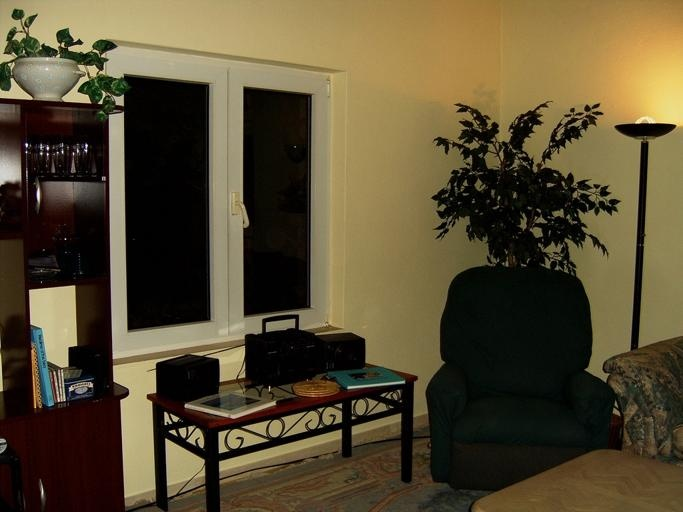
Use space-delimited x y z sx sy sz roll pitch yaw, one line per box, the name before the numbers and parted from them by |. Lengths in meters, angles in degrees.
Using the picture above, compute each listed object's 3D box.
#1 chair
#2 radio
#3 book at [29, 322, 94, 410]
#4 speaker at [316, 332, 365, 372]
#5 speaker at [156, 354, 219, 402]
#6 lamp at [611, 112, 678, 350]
chair | 1.024 0.687 3.563 1.020 1.104 0.876 1 9 8
radio | -0.355 0.539 3.485 0.364 0.361 0.244 -1 7 -41
book | -1.375 0.501 2.997 0.324 0.427 0.437 -3 7 -31
speaker | -0.005 0.573 3.665 0.338 0.241 0.183 -3 1 -29
speaker | -0.812 0.649 3.180 0.252 0.193 0.254 6 11 36
lamp | 1.999 -0.121 4.000 0.332 1.573 0.534 5 10 30
